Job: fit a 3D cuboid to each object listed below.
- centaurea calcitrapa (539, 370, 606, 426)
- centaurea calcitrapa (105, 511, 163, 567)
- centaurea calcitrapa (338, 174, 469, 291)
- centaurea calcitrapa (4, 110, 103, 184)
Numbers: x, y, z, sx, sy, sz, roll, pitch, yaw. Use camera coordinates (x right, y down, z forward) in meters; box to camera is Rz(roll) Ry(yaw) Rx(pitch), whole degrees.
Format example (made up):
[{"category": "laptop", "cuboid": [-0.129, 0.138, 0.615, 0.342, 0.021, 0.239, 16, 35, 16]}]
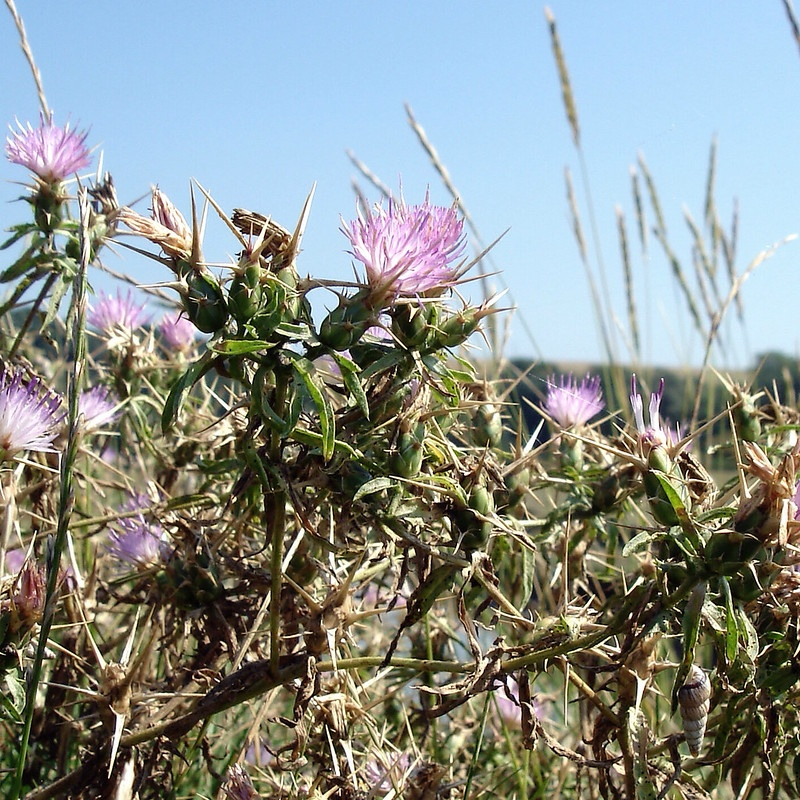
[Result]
[{"category": "centaurea calcitrapa", "cuboid": [0.486, 0.001, 2.786, 0.134, 0.183, 0.150, -5, 8, -15]}, {"category": "centaurea calcitrapa", "cuboid": [-0.604, 0.332, 2.306, 0.104, 0.116, 0.123, 3, -9, 7]}, {"category": "centaurea calcitrapa", "cuboid": [0.010, -0.290, 1.854, 0.207, 0.208, 0.084, -3, -24, 0]}, {"category": "centaurea calcitrapa", "cuboid": [-0.837, -0.628, 2.413, 0.164, 0.251, 0.141, -12, -26, 20]}]
